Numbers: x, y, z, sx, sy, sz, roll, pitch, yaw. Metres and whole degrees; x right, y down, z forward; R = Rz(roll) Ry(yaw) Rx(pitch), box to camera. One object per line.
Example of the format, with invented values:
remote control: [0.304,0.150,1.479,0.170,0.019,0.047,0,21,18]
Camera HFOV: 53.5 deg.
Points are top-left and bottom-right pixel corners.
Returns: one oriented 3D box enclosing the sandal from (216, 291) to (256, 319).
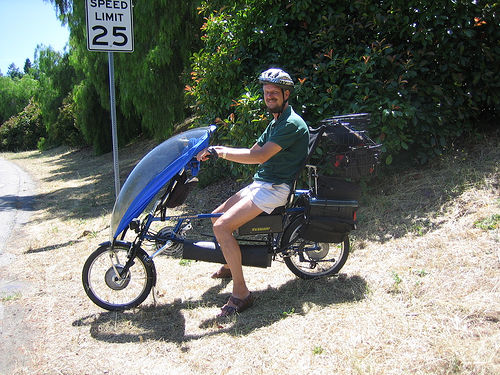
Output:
sandal: [-0.139,1.403,6.283,0.542,0.245,0.208,-29,2,-18]

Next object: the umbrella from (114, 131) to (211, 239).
umbrella: [-1.042,-0.152,6.094,1.811,0.350,0.440,-42,12,-20]

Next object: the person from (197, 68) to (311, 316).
person: [0.100,0.013,6.303,1.368,2.868,0.703,-12,20,-32]

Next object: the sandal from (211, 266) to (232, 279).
sandal: [-0.412,1.195,6.979,0.329,0.167,0.122,4,3,17]
